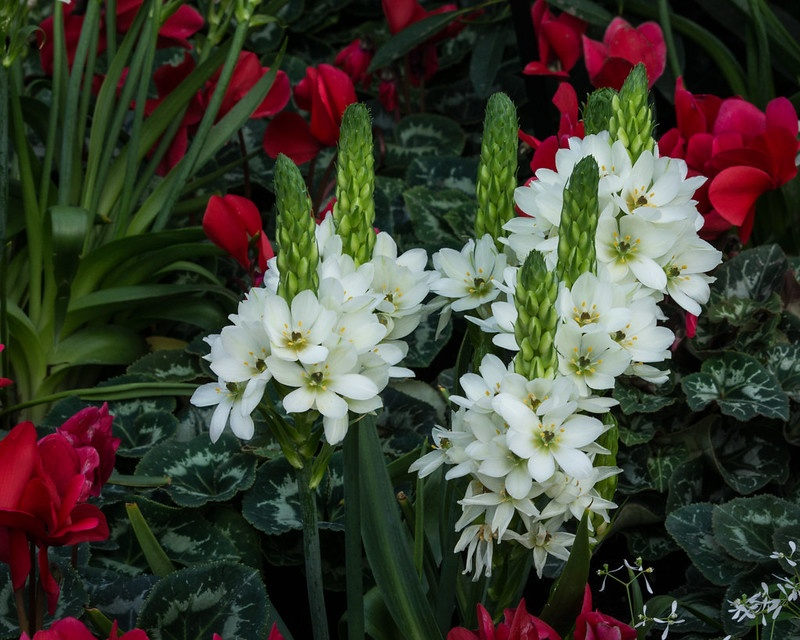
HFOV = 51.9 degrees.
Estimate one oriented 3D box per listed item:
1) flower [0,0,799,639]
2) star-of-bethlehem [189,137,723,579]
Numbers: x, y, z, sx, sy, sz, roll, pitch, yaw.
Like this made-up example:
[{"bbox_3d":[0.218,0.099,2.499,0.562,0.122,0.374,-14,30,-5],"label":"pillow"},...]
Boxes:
[{"bbox_3d":[-0.018,0.015,1.704,0.915,1.239,0.995,8,21,-10],"label":"flower"},{"bbox_3d":[0.074,0.039,1.522,0.673,0.781,0.568,26,-13,-1],"label":"star-of-bethlehem"}]
